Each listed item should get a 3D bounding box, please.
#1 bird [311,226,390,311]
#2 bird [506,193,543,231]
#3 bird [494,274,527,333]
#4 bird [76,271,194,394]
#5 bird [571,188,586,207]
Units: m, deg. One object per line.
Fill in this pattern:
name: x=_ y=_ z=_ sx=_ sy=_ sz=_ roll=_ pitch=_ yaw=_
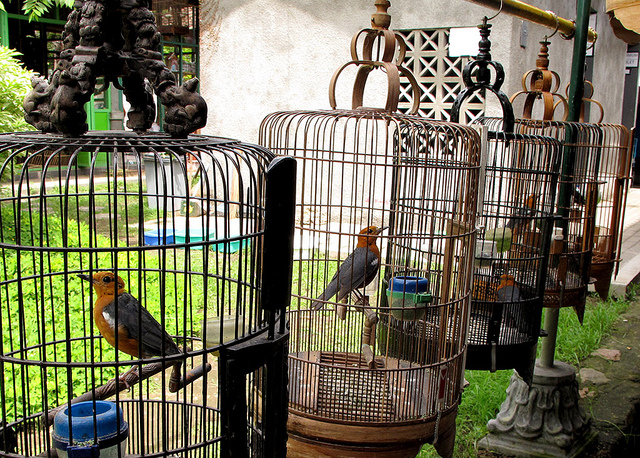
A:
bird: x=0.160 y=0.218 z=4.076 sx=0.493 sy=0.440 sz=0.204 roll=-7 pitch=3 yaw=-18
bird: x=1.272 y=-0.091 z=4.595 sx=0.259 sy=0.272 sz=0.125 roll=0 pitch=4 yaw=20
bird: x=1.094 y=0.391 z=4.143 sx=0.105 sy=0.318 sz=0.157 roll=-22 pitch=40 yaw=-17
bird: x=-0.822 y=0.459 z=3.272 sx=0.516 sy=0.508 sz=0.247 roll=6 pitch=-13 yaw=-28
bird: x=1.907 y=-0.238 z=5.375 sx=0.084 sy=0.128 sz=0.388 roll=4 pitch=4 yaw=20
